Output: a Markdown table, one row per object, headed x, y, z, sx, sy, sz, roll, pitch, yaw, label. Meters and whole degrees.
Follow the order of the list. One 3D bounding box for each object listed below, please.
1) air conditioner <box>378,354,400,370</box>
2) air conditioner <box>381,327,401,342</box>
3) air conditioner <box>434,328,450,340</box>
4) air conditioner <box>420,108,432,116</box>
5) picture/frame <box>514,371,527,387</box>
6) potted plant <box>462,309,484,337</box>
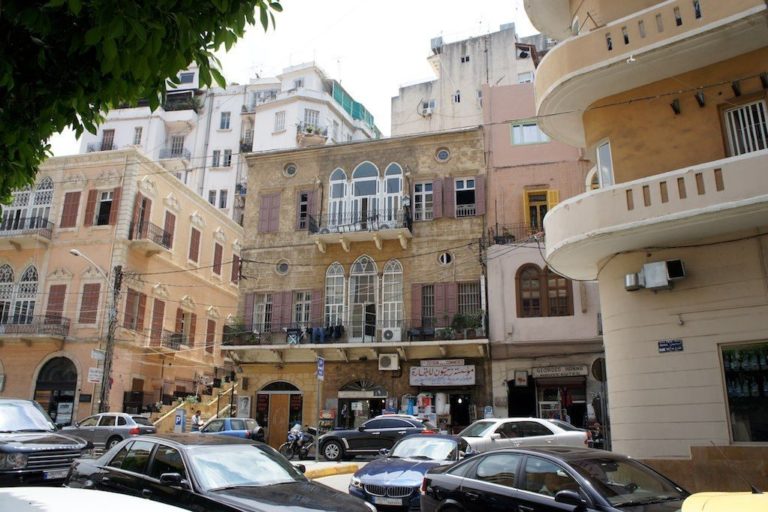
| x | y | z | sx | sy | sz | roll | pitch | yaw | label |
| --- | --- | --- | --- | --- | --- | --- | --- | --- | --- |
| 0.217 | 5.187 | 30.606 | 1.294 | 0.919 | 0.682 | -5 | -23 | 18 | air conditioner |
| 0.350 | 3.808 | 30.449 | 0.989 | 0.680 | 0.535 | -3 | -27 | 9 | air conditioner |
| 2.718 | 3.669 | 29.648 | 0.235 | 0.563 | 0.874 | 13 | -21 | -39 | air conditioner |
| 3.453 | -11.738 | 51.521 | 1.055 | 0.719 | 0.571 | 3 | 9 | 18 | air conditioner |
| 6.069 | 5.421 | 28.005 | 0.682 | 0.660 | 0.351 | -1 | -10 | 5 | picture/frame |
| 4.155 | 3.144 | 29.128 | 1.071 | 1.259 | 1.057 | 5 | -5 | -42 | potted plant |
